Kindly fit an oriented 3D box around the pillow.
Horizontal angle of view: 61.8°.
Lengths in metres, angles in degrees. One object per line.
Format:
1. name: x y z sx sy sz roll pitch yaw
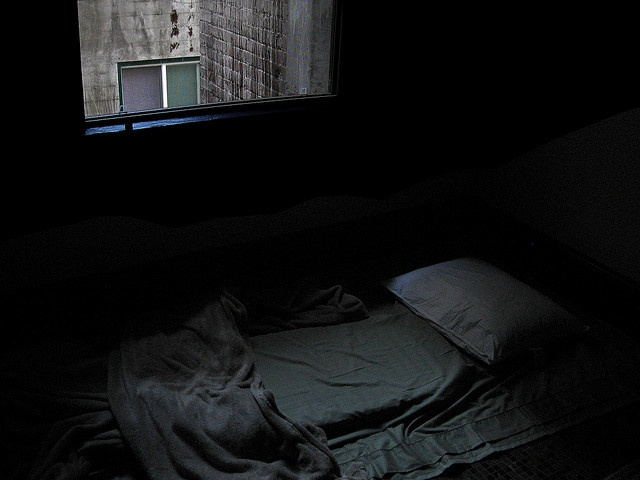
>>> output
1. pillow: 0.803 0.308 2.540 0.493 0.579 0.179 -10 -61 -26
